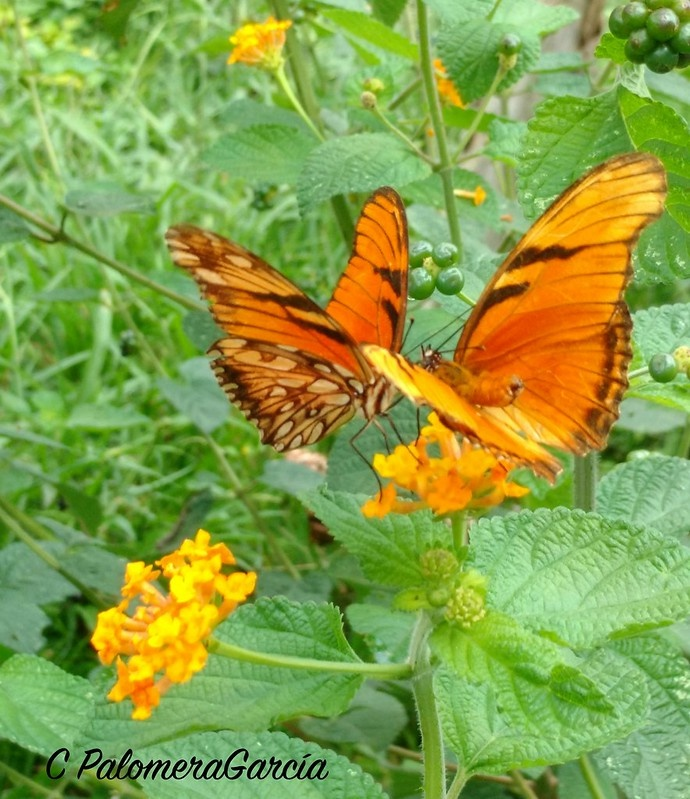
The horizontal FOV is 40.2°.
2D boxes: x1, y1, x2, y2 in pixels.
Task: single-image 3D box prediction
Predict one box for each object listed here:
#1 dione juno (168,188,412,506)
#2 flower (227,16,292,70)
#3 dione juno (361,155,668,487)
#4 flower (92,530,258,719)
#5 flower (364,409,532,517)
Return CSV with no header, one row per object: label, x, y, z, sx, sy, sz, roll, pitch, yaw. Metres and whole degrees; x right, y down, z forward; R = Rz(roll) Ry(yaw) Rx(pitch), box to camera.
dione juno,-0.008,-0.106,1.684,0.336,0.620,0.411,8,97,50
flower,-0.155,-0.655,1.783,0.107,0.128,0.118,-2,59,4
dione juno,0.229,-0.070,1.258,0.296,0.399,0.404,10,60,11
flower,-0.192,0.278,1.163,0.247,0.105,0.212,8,62,54
flower,0.110,0.107,1.165,0.137,0.057,0.127,-16,47,-25
